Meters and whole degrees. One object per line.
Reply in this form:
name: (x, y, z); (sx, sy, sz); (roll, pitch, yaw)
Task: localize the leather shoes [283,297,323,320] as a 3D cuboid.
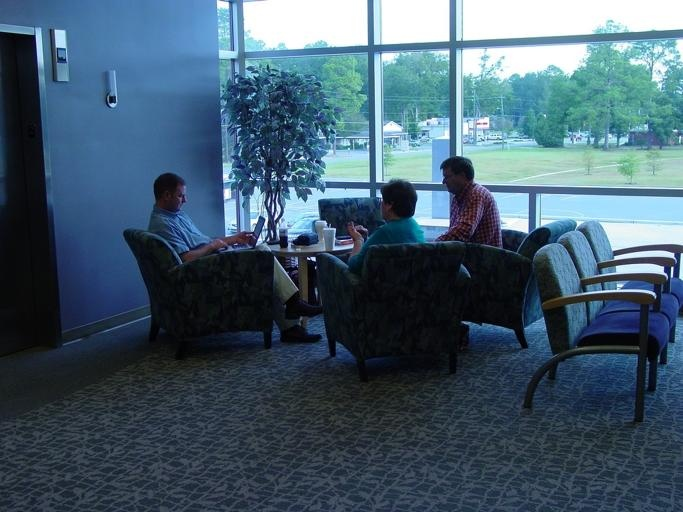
leather shoes: (-0.353, 0.430, 4.692); (0.420, 0.163, 0.132); (-7, 15, -18)

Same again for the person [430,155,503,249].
person: (1.113, -0.510, 5.107); (0.801, 1.028, 0.759); (-1, 4, 13)

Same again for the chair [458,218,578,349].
chair: (1.447, 0.157, 4.685); (1.107, 1.034, 0.857); (5, 11, 35)

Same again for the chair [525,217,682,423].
chair: (1.816, 0.485, 3.767); (0.577, 0.639, 1.387); (0, 8, 25)

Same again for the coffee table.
coffee table: (-0.313, 0.199, 5.056); (0.838, 0.577, 0.813); (0, 2, 2)

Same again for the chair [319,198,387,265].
chair: (0.122, -0.327, 6.523); (0.730, 0.928, 0.736); (-2, 2, -4)

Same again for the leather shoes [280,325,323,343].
leather shoes: (-0.359, 0.685, 4.779); (0.386, 0.154, 0.139); (-1, 6, 0)

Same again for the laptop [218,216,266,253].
laptop: (-0.934, -0.233, 5.136); (0.361, 0.221, 0.370); (-1, 10, -15)
